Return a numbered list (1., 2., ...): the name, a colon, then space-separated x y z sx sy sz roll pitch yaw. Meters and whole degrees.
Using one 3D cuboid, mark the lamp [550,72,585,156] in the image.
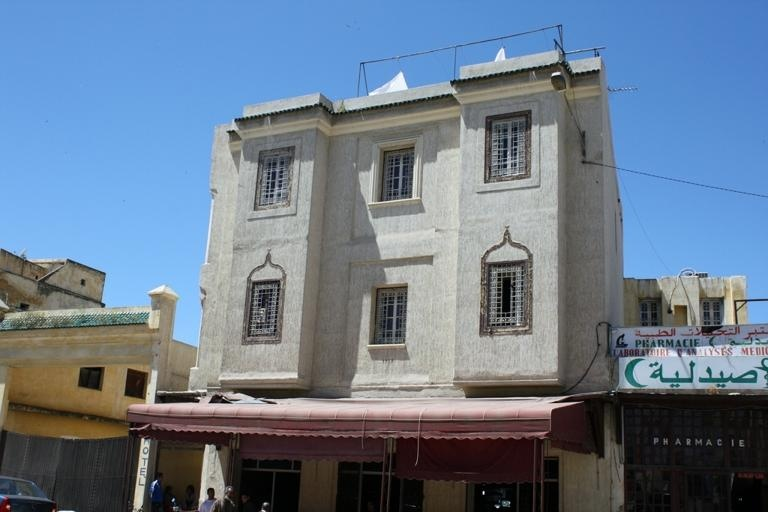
1. lamp: 5.158 -3.787 19.896 0.840 2.479 0.436 -6 8 -11
